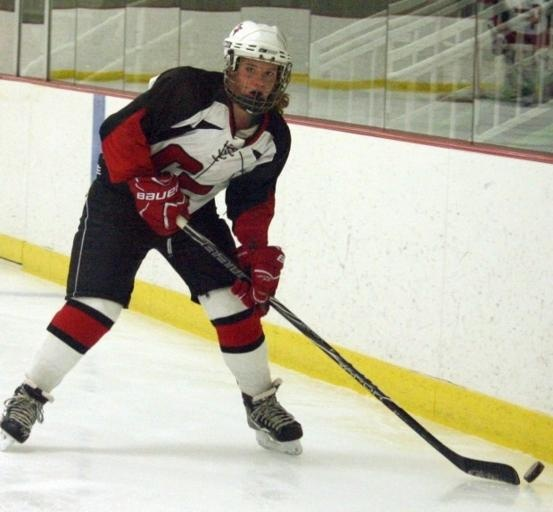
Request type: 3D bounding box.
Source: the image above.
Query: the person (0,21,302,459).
[{"bbox_3d":[-0.297,-0.046,1.951,0.873,1.285,0.330,5,13,-13],"label":"person"}]

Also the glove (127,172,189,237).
[{"bbox_3d":[-0.338,-0.143,1.857,0.114,0.178,0.136,-6,29,33],"label":"glove"}]

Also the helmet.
[{"bbox_3d":[-0.056,-0.585,1.920,0.179,0.147,0.190,6,-5,-21],"label":"helmet"}]
